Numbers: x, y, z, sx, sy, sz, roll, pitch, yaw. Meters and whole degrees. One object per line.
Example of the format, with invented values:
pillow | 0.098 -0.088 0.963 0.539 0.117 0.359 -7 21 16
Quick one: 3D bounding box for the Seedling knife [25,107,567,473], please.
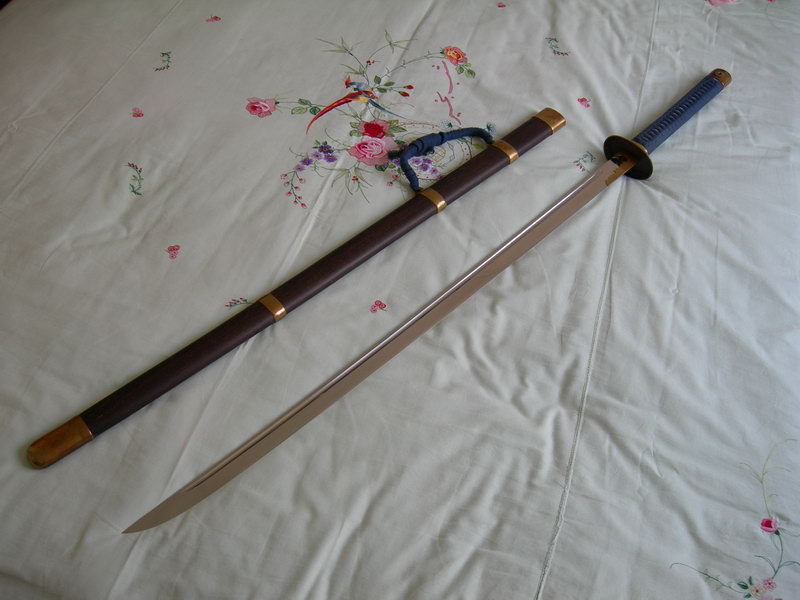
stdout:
Seedling knife | -0.251 0.000 1.618 0.062 1.247 0.127 5 -48 59
